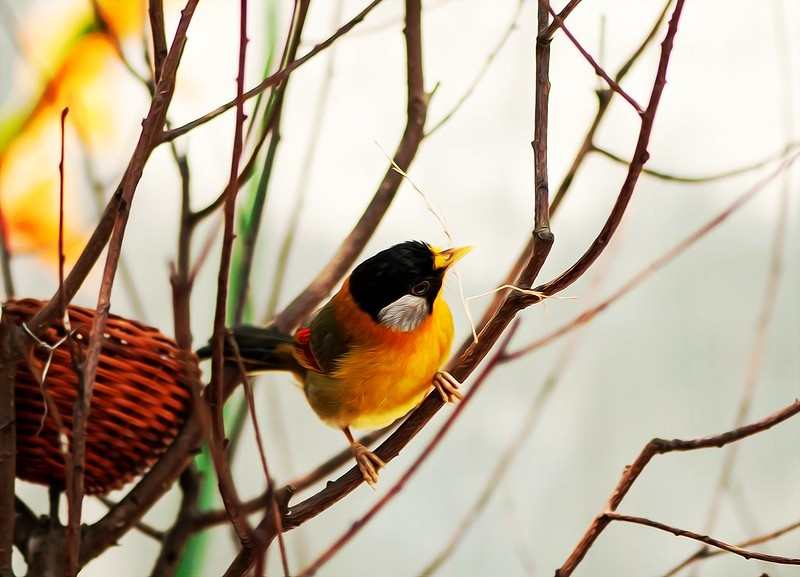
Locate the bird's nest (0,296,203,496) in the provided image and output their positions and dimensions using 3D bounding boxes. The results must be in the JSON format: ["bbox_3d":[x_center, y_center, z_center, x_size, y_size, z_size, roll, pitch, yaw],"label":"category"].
[{"bbox_3d":[-0.450,0.156,1.535,0.270,0.189,0.255,27,-27,-28],"label":"bird's nest"}]

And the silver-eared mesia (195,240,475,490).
[{"bbox_3d":[-0.081,0.084,1.674,0.458,0.263,0.324,1,-67,24],"label":"silver-eared mesia"}]
